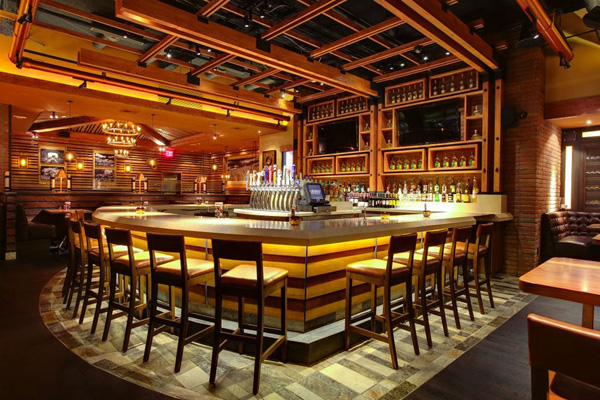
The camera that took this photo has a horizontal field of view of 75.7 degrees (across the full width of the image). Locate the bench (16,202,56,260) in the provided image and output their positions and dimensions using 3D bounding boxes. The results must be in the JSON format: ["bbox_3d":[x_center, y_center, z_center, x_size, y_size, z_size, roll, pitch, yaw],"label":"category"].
[{"bbox_3d":[-6.596,0.823,9.607,0.804,1.077,1.515,-2,3,-44],"label":"bench"}]

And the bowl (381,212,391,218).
[{"bbox_3d":[1.555,0.293,6.815,0.193,0.107,0.174,0,0,-4],"label":"bowl"}]

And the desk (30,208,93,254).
[{"bbox_3d":[-5.379,0.722,8.605,1.336,1.059,1.224,3,-1,-19],"label":"desk"}]

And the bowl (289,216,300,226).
[{"bbox_3d":[-0.076,0.326,5.752,0.151,0.090,0.142,-1,-1,0],"label":"bowl"}]

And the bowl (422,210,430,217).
[{"bbox_3d":[2.274,0.257,6.976,0.129,0.103,0.128,-1,2,0],"label":"bowl"}]

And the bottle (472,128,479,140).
[{"bbox_3d":[3.896,-1.453,8.536,0.174,0.276,0.322,0,3,18],"label":"bottle"}]

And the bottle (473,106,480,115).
[{"bbox_3d":[3.942,-1.991,8.564,0.154,0.234,0.226,0,4,22],"label":"bottle"}]

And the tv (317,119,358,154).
[{"bbox_3d":[1.061,-1.704,10.388,1.213,0.751,0.165,-1,0,41],"label":"tv"}]

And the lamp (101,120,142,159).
[{"bbox_3d":[-6.385,-2.149,13.652,1.453,1.248,1.399,2,-2,26],"label":"lamp"}]

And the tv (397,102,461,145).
[{"bbox_3d":[3.028,-1.751,8.875,1.292,0.723,0.171,0,3,43],"label":"tv"}]

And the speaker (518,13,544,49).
[{"bbox_3d":[4.138,-3.075,6.944,0.391,0.484,0.741,1,4,36],"label":"speaker"}]

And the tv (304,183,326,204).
[{"bbox_3d":[0.262,-0.110,7.316,0.228,0.338,0.419,-17,-16,42],"label":"tv"}]
